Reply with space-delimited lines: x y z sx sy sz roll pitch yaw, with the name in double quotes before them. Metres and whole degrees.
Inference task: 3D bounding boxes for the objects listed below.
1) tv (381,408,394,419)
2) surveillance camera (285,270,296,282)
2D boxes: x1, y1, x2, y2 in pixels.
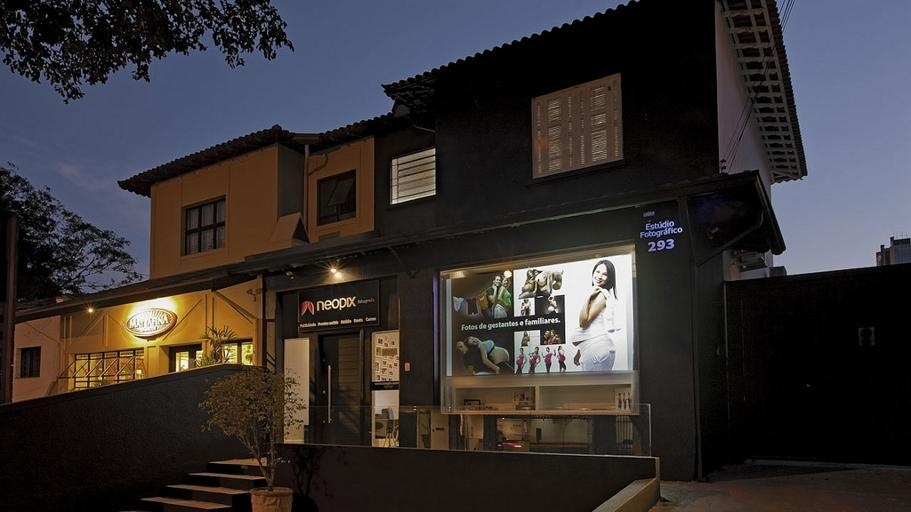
"tv" -1.842 4.292 19.855 0.303 0.288 0.539 3 -6 -24
"surveillance camera" -5.480 0.635 24.099 0.452 0.321 0.098 10 14 31
